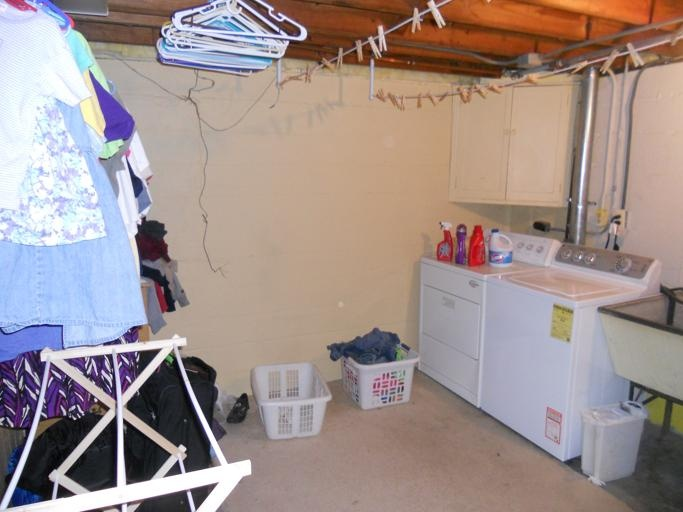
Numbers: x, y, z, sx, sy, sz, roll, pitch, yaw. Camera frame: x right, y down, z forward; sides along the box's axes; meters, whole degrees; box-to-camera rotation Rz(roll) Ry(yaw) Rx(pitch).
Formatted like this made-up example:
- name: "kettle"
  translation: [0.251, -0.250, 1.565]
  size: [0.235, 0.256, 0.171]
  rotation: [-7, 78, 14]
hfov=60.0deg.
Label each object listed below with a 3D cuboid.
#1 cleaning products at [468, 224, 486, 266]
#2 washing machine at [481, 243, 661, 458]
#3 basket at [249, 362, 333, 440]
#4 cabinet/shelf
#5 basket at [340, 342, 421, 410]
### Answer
- name: "cleaning products"
  translation: [0.991, -0.089, 4.244]
  size: [0.106, 0.273, 0.317]
  rotation: [5, 14, 33]
- name: "washing machine"
  translation: [1.378, 0.612, 3.525]
  size: [0.792, 1.570, 0.905]
  rotation: [-4, 12, -18]
- name: "basket"
  translation: [-0.337, 0.949, 3.912]
  size: [0.473, 0.359, 0.488]
  rotation: [-5, 12, -12]
- name: "cabinet/shelf"
  translation: [1.295, -0.842, 4.284]
  size: [0.829, 0.870, 0.345]
  rotation: [7, 9, 38]
- name: "basket"
  translation: [0.292, 0.818, 4.064]
  size: [0.387, 0.310, 0.459]
  rotation: [-2, 2, -16]
